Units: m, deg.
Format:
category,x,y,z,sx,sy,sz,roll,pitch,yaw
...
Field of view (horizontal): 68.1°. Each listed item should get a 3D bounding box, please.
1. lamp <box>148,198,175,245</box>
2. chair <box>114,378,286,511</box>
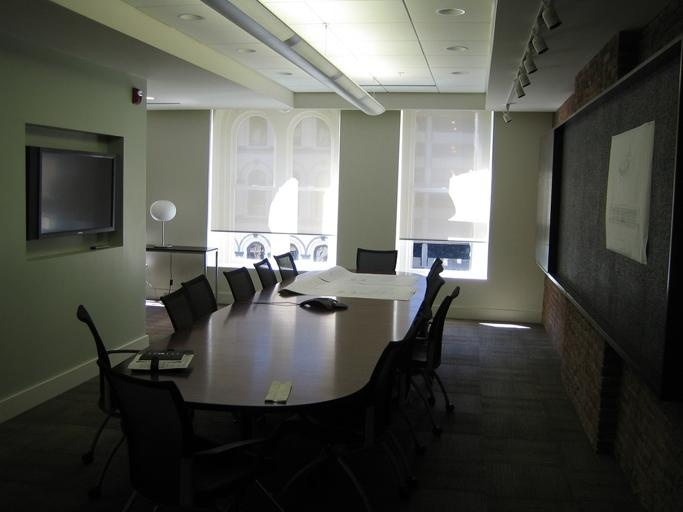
category,x,y,z,sx,sy,sz,roll,pitch,yaw
lamp,-2.943,-0.554,8.451,0.416,0.780,0.724,-2,9,-19
chair,-0.786,0.973,2.645,0.714,0.824,0.343,-3,9,-26
